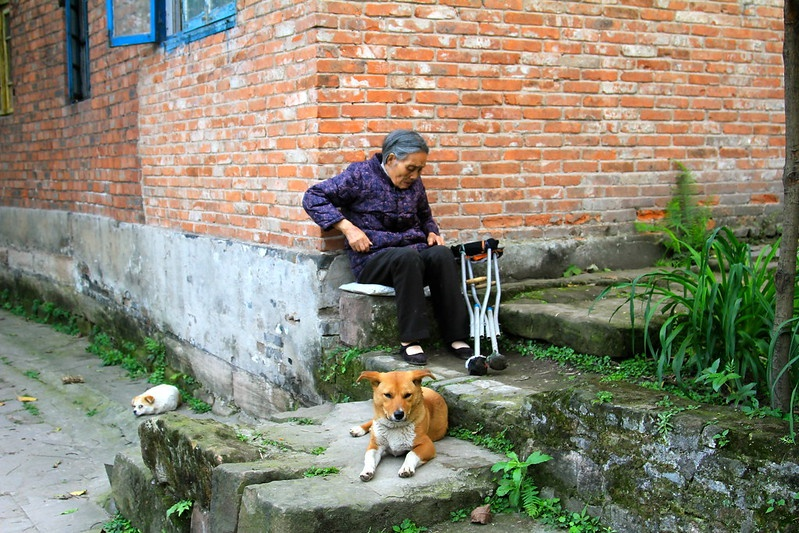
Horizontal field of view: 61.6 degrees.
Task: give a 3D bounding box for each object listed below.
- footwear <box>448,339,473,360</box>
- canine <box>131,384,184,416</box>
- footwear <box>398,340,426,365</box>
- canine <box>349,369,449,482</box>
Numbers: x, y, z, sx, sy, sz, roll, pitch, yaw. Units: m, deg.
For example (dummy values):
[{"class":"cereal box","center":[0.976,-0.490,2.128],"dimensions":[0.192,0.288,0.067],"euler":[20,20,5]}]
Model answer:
[{"class":"footwear","center":[0.516,0.687,5.483],"dimensions":[0.110,0.074,0.197],"euler":[-3,5,-34]},{"class":"canine","center":[-2.606,1.460,7.372],"dimensions":[0.323,0.187,0.537],"euler":[-2,2,27]},{"class":"footwear","center":[0.117,0.695,5.358],"dimensions":[0.113,0.096,0.232],"euler":[-4,8,-29]},{"class":"canine","center":[-0.024,0.967,4.614],"dimensions":[0.712,0.627,1.150],"euler":[0,6,4]}]
